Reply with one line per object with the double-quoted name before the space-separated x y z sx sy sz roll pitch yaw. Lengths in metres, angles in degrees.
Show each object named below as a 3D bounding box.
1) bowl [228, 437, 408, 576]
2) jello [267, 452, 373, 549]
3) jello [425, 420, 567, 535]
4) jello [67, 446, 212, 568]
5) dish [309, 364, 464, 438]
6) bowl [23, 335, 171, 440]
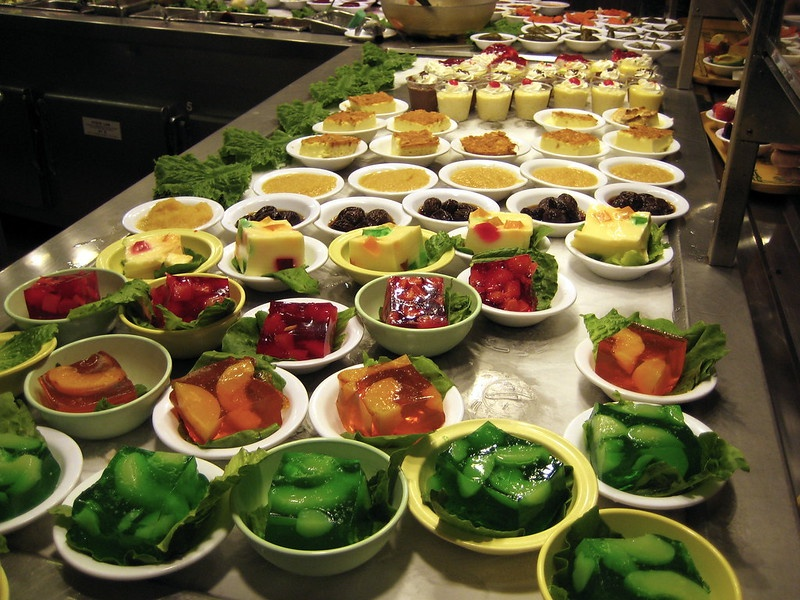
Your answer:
"bowl" -0.188 0.428 1.168 0.350 0.104 0.294 7 27 8
"jello" -0.164 0.412 1.186 0.210 0.085 0.186 3 36 4
"jello" 0.239 0.377 1.280 0.339 0.087 0.259 -5 27 13
"jello" -0.576 0.405 1.231 0.086 0.212 0.236 -45 16 -2
"dish" -0.035 0.243 1.434 0.385 0.100 0.228 -5 36 -7
"bowl" -0.728 0.234 1.526 0.333 0.114 0.338 5 38 -4
